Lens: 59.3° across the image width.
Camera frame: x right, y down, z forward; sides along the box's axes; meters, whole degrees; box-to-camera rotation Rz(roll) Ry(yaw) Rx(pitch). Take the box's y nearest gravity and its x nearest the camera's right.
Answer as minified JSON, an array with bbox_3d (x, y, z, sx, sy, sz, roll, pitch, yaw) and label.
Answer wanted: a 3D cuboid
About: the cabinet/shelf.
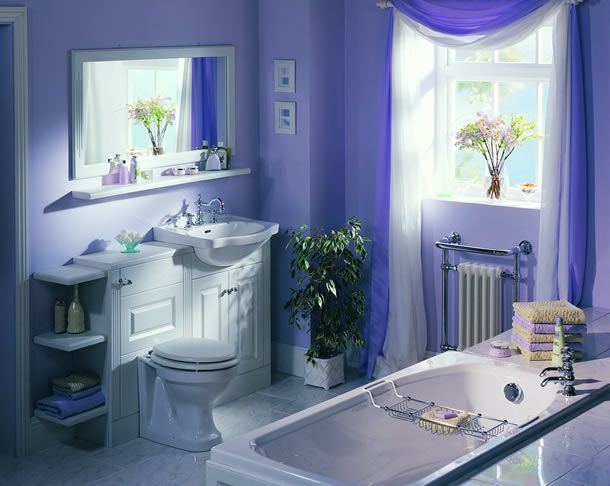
[{"bbox_3d":[-1.021,0.631,3.372,0.285,0.779,1.156,3,7,31],"label":"cabinet/shelf"}]

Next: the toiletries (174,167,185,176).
[{"bbox_3d":[-0.896,-0.516,3.889,0.057,0.042,0.047,0,7,4],"label":"toiletries"}]

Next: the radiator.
[{"bbox_3d":[1.248,0.474,3.891,0.351,0.661,0.117,10,13,37],"label":"radiator"}]

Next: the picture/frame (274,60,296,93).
[{"bbox_3d":[-0.146,-1.311,4.194,0.230,0.322,0.021,5,7,39],"label":"picture/frame"}]

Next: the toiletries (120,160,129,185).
[{"bbox_3d":[-1.168,-0.461,3.497,0.063,0.154,0.052,-5,12,-31],"label":"toiletries"}]

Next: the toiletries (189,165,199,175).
[{"bbox_3d":[-0.811,-0.545,3.964,0.050,0.065,0.064,1,4,-41],"label":"toiletries"}]

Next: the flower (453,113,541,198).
[{"bbox_3d":[1.427,-0.621,4.084,0.514,0.706,0.586,1,2,18],"label":"flower"}]

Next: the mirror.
[{"bbox_3d":[-1.012,-0.942,3.675,1.260,0.939,0.155,-10,15,-44],"label":"mirror"}]

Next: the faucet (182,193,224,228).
[{"bbox_3d":[-0.734,-0.230,4.023,0.126,0.204,0.452,5,13,25],"label":"faucet"}]

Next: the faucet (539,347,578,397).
[{"bbox_3d":[1.150,0.548,2.431,0.144,0.246,0.306,7,13,25],"label":"faucet"}]

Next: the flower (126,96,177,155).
[{"bbox_3d":[-1.011,-0.804,3.729,0.288,0.434,0.353,0,8,1],"label":"flower"}]

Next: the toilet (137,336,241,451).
[{"bbox_3d":[-0.740,0.973,3.465,0.590,0.626,0.501,5,5,35],"label":"toilet"}]

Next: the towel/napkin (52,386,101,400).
[{"bbox_3d":[-1.378,0.905,3.235,0.112,0.031,0.119,3,5,27],"label":"towel/napkin"}]
